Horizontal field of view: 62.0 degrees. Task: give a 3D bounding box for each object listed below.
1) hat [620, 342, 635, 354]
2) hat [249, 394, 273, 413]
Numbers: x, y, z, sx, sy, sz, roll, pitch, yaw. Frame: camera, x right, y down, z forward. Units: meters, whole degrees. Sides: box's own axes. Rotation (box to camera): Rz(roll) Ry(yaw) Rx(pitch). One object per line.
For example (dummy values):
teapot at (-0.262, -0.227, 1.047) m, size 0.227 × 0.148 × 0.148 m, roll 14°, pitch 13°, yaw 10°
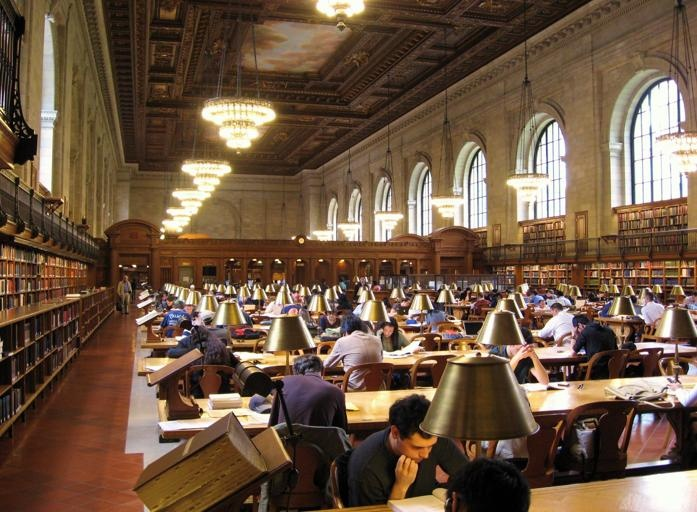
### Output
hat at (3.400, 1.126, 7.062) m, size 0.171 × 0.073 × 0.139 m, roll -1°, pitch -5°, yaw 14°
hat at (-0.694, 1.193, 4.612) m, size 0.207 × 0.099 × 0.214 m, roll 1°, pitch 2°, yaw -21°
